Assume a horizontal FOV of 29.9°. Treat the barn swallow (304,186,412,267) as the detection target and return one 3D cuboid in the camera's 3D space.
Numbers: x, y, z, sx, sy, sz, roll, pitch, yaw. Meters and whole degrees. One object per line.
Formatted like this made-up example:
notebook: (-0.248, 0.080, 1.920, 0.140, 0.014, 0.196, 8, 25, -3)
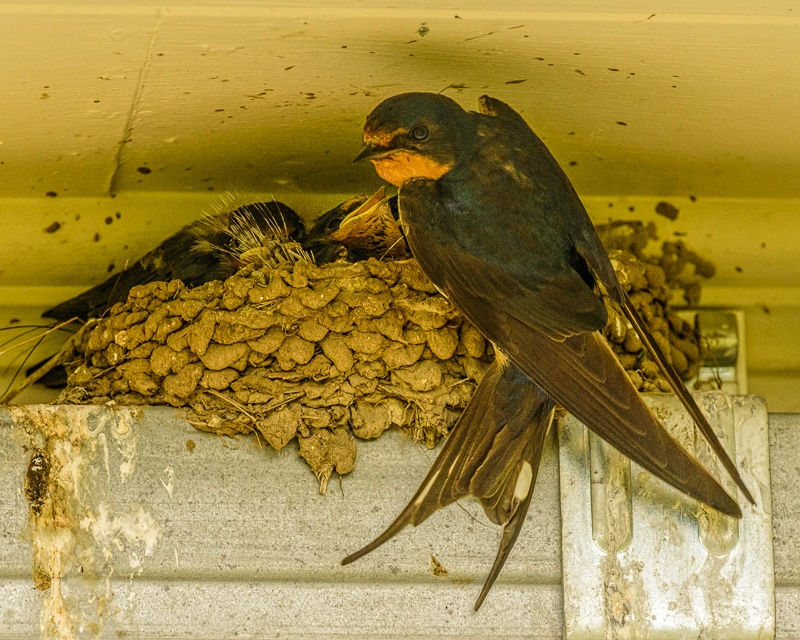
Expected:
barn swallow: (-0.122, -0.258, 4.143, 0.314, 0.106, 0.198, -18, 51, -22)
